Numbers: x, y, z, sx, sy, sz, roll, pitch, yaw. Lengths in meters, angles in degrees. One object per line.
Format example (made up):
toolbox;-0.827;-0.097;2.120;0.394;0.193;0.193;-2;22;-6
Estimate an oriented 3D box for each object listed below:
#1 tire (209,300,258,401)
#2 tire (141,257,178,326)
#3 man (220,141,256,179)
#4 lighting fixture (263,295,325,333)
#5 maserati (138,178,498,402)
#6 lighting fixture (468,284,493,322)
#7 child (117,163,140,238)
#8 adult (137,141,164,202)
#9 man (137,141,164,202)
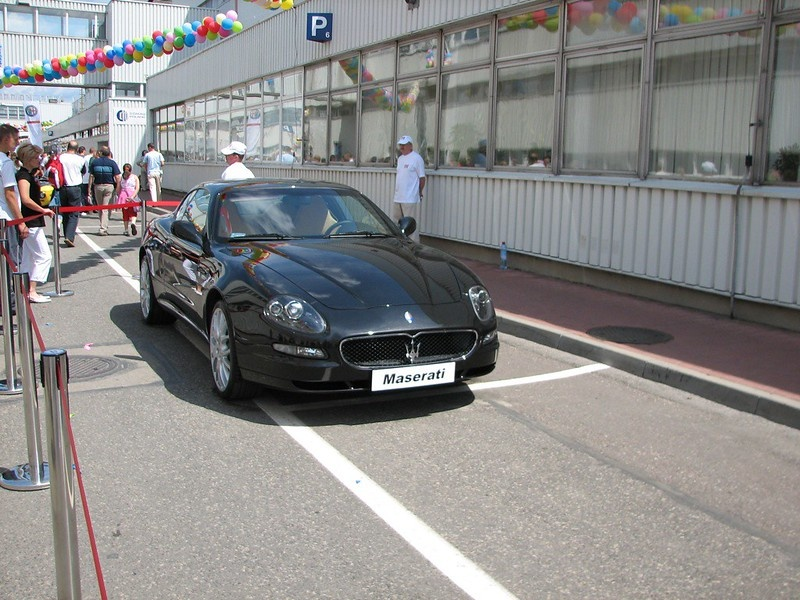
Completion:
tire;-1.472;0.417;5.102;0.221;0.819;0.738;-2;3;-31
tire;-3.102;-0.140;7.546;0.302;0.974;0.875;-3;3;-35
man;-2.671;-2.235;9.657;0.523;0.697;0.692;11;17;0
lighting fixture;-0.783;0.107;4.486;0.525;0.228;0.156;6;11;26
maserati;-0.926;-0.241;5.735;2.051;1.838;3.722;-7;13;-39
lighting fixture;0.686;0.016;5.016;0.160;0.085;0.321;1;36;-14
child;-8.174;-3.001;17.889;0.666;2.124;0.740;1;4;15
adult;-9.214;-4.729;22.064;0.637;2.158;0.718;18;25;28
man;-9.214;-4.729;22.033;0.659;2.185;0.731;12;20;22
